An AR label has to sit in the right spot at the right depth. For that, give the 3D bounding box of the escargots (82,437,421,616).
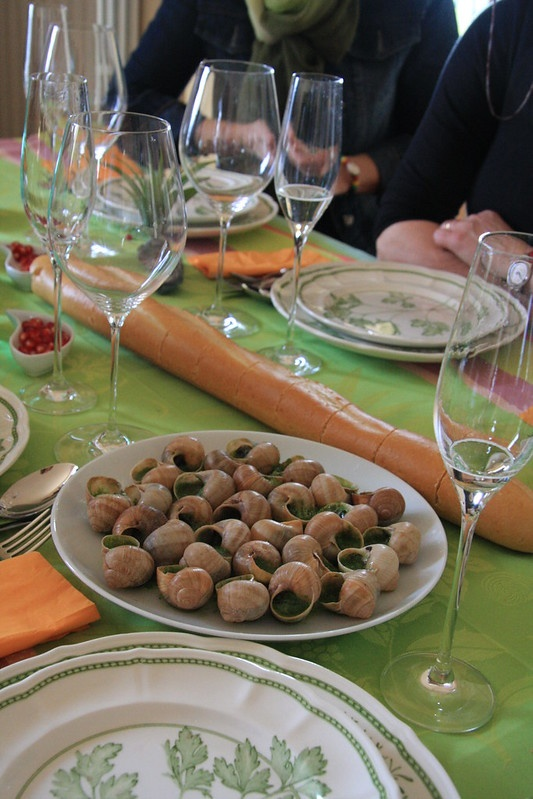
[{"bbox_3d":[-0.005,0.054,0.466,0.157,0.037,0.117,21,25,35],"label":"escargots"}]
